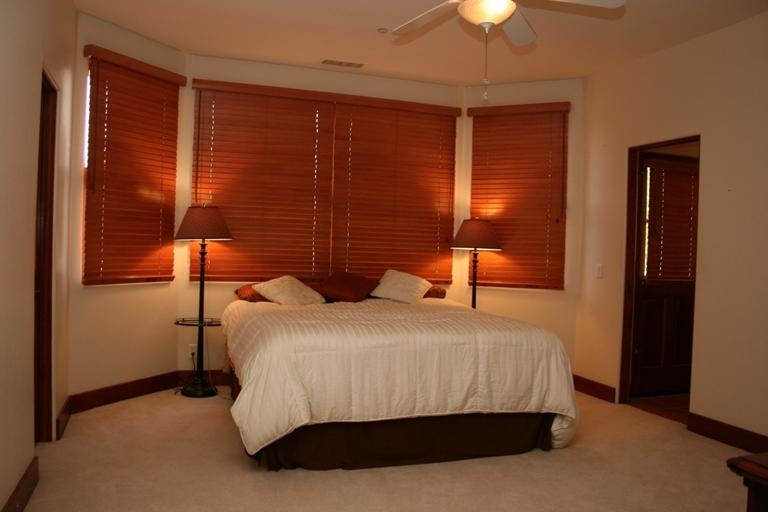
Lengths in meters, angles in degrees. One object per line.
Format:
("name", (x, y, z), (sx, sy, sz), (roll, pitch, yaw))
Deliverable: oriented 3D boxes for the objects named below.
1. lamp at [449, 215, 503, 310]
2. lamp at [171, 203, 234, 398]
("lamp", (1.051, 0.082, 6.421), (0.537, 1.022, 0.548), (4, 10, 11))
("lamp", (-1.821, 0.423, 5.726), (0.543, 1.863, 0.763), (-1, 11, -17))
